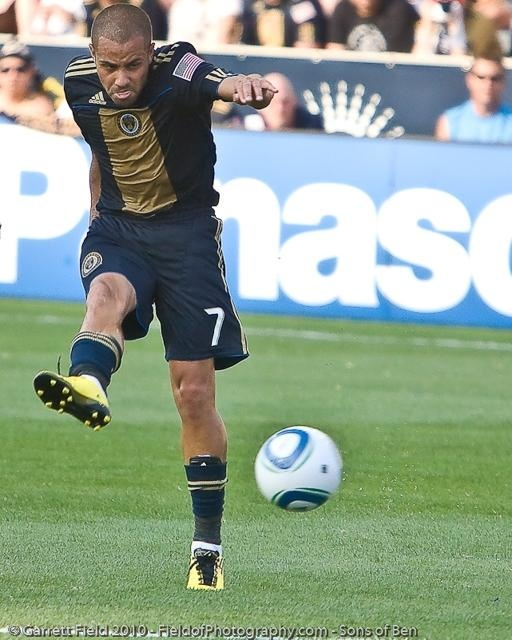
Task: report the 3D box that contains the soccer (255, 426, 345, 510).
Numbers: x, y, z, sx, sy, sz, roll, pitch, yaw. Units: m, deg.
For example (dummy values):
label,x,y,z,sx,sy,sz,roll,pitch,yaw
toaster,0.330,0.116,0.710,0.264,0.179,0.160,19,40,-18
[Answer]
label,x,y,z,sx,sy,sz,roll,pitch,yaw
soccer,0.158,0.540,4.179,0.366,0.279,0.378,0,6,2

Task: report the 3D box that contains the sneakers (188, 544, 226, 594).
label,x,y,z,sx,sy,sz,roll,pitch,yaw
sneakers,-0.175,0.877,3.864,0.078,0.069,0.171,2,30,-7
